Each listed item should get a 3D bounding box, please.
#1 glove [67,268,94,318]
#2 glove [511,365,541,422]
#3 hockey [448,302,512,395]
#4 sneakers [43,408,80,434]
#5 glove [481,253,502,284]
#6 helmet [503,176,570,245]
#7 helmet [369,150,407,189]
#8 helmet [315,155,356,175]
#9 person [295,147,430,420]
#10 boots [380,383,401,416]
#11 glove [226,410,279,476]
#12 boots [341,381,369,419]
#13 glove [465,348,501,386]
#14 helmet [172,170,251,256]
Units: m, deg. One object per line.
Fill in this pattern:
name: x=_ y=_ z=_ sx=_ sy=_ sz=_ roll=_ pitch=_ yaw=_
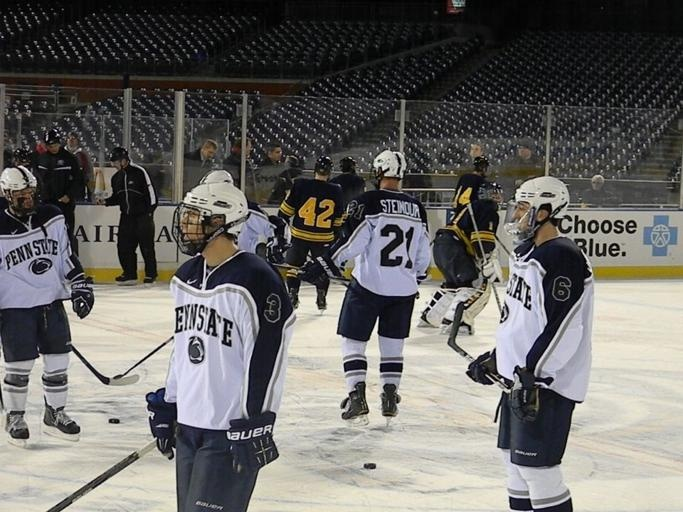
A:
glove: x=-1.988 y=0.289 z=7.521 sx=0.125 sy=0.349 sz=0.220 roll=-24 pitch=-26 yaw=32
glove: x=1.105 y=0.838 z=5.930 sx=0.167 sy=0.324 sz=0.093 roll=3 pitch=6 yaw=11
hockey: x=0.858 y=0.604 z=6.611 sx=0.487 sy=0.491 sz=0.130 roll=35 pitch=11 yaw=32
sneakers: x=-2.144 y=1.253 z=7.609 sx=0.394 sy=0.162 sz=0.134 roll=10 pitch=13 yaw=36
glove: x=1.615 y=0.137 z=10.749 sx=0.133 sy=0.295 sz=0.248 roll=-1 pitch=9 yaw=-15
helmet: x=1.251 y=-0.281 z=6.309 sx=0.454 sy=0.434 sz=0.347 roll=4 pitch=0 yaw=14
helmet: x=0.438 y=-0.753 z=8.325 sx=0.269 sy=0.317 sz=0.324 roll=-2 pitch=4 yaw=-20
helmet: x=-0.062 y=-1.103 z=11.894 sx=0.462 sy=0.179 sz=0.275 roll=1 pitch=5 yaw=-3
person: x=0.241 y=0.381 z=8.021 sx=0.957 sy=1.828 sz=0.760 roll=2 pitch=6 yaw=-2
boots: x=0.400 y=1.172 z=7.970 sx=0.148 sy=0.235 sz=0.361 roll=3 pitch=-4 yaw=8
glove: x=-0.487 y=1.023 z=5.399 sx=0.314 sy=0.296 sz=0.120 roll=-9 pitch=7 yaw=-23
boots: x=0.092 y=1.185 z=7.857 sx=0.145 sy=0.300 sz=0.335 roll=3 pitch=-19 yaw=-38
glove: x=0.904 y=0.715 z=6.310 sx=0.228 sy=0.094 sz=0.220 roll=-2 pitch=27 yaw=5
helmet: x=-0.725 y=-0.234 z=5.770 sx=0.476 sy=0.437 sz=0.366 roll=4 pitch=5 yaw=-7
